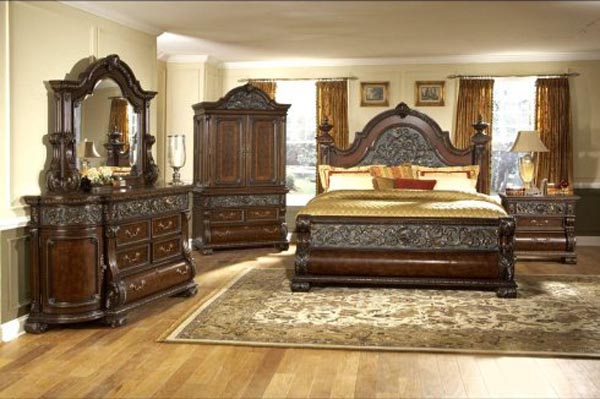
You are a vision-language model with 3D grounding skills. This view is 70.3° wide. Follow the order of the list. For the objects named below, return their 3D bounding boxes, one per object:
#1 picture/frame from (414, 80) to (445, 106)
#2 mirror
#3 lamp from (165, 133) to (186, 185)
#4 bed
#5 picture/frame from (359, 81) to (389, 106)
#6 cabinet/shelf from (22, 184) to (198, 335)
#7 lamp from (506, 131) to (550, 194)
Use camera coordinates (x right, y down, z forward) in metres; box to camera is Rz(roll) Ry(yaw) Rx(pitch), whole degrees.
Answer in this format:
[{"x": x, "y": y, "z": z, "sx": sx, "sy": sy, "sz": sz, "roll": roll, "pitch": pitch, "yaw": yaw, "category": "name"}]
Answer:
[{"x": 2.234, "y": -1.816, "z": 7.279, "sx": 0.530, "sy": 0.386, "sz": 0.041, "roll": 0, "pitch": 0, "yaw": 5, "category": "picture/frame"}, {"x": -2.032, "y": -0.794, "z": 4.355, "sx": 0.429, "sy": 1.363, "sz": 1.260, "roll": 5, "pitch": 10, "yaw": 33, "category": "mirror"}, {"x": -1.437, "y": -0.472, "z": 4.964, "sx": 0.208, "sy": 0.552, "sz": 0.613, "roll": -3, "pitch": 9, "yaw": -15, "category": "lamp"}, {"x": 1.457, "y": -0.170, "z": 6.066, "sx": 2.594, "sy": 1.980, "sz": 3.237, "roll": 1, "pitch": 9, "yaw": 13, "category": "bed"}, {"x": 1.303, "y": -1.842, "z": 7.396, "sx": 0.532, "sy": 0.386, "sz": 0.048, "roll": 0, "pitch": 1, "yaw": 4, "category": "picture/frame"}, {"x": -1.770, "y": 0.523, "z": 4.106, "sx": 0.624, "sy": 1.219, "sz": 1.459, "roll": 6, "pitch": 11, "yaw": 38, "category": "cabinet/shelf"}, {"x": 3.507, "y": -0.552, "z": 6.546, "sx": 0.773, "sy": 0.831, "sz": 0.714, "roll": -1, "pitch": 2, "yaw": -14, "category": "lamp"}]
